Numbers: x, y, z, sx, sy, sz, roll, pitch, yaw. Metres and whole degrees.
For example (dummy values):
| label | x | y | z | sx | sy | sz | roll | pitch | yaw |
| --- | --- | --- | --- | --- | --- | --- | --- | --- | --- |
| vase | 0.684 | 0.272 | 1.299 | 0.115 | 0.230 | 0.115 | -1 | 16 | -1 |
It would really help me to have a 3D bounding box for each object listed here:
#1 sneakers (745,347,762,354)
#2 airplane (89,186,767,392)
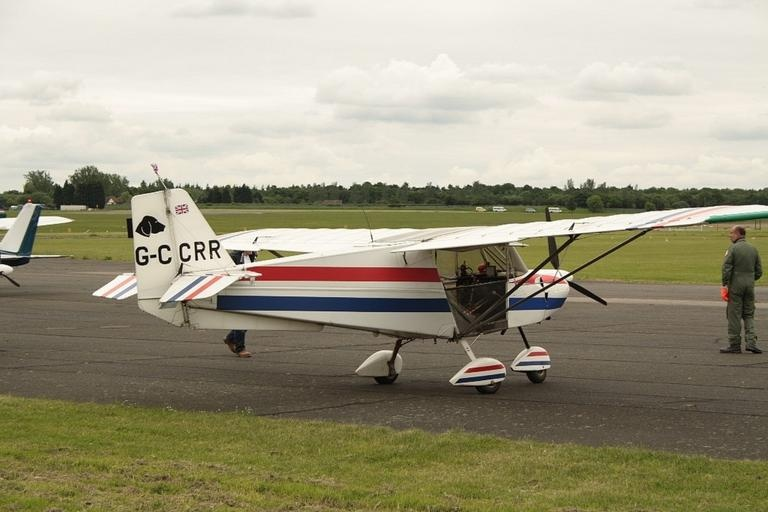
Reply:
| label | x | y | z | sx | sy | sz | roll | pitch | yaw |
| --- | --- | --- | --- | --- | --- | --- | --- | --- | --- |
| sneakers | 7.042 | 1.784 | 14.685 | 0.313 | 0.090 | 0.121 | 0 | 4 | -18 |
| airplane | -0.196 | 0.546 | 12.818 | 8.352 | 3.199 | 3.614 | 0 | 2 | 7 |
